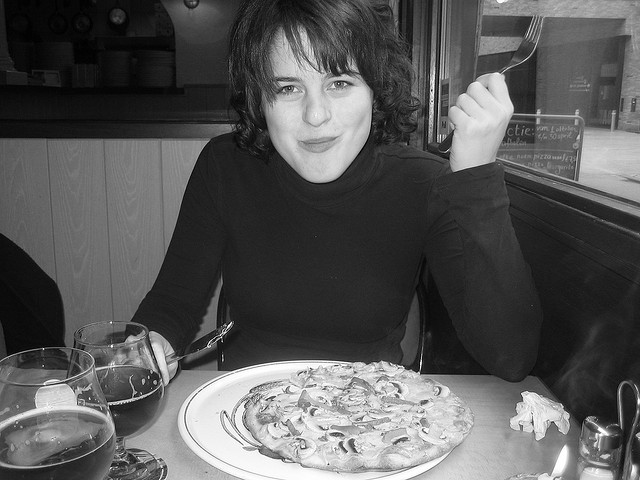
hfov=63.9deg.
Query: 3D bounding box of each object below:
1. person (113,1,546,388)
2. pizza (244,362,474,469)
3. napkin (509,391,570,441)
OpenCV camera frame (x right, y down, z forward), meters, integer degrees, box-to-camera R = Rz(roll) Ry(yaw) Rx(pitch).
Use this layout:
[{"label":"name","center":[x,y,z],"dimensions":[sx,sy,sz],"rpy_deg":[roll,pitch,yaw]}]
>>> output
[{"label":"person","center":[0.033,-0.112,1.232],"dimensions":[0.952,0.899,0.506],"rpy_deg":[2,16,16]},{"label":"pizza","center":[0.082,0.284,0.852],"dimensions":[0.373,0.044,0.376],"rpy_deg":[4,6,-7]},{"label":"napkin","center":[0.356,0.281,0.831],"dimensions":[0.070,0.033,0.069],"rpy_deg":[-29,34,-16]}]
